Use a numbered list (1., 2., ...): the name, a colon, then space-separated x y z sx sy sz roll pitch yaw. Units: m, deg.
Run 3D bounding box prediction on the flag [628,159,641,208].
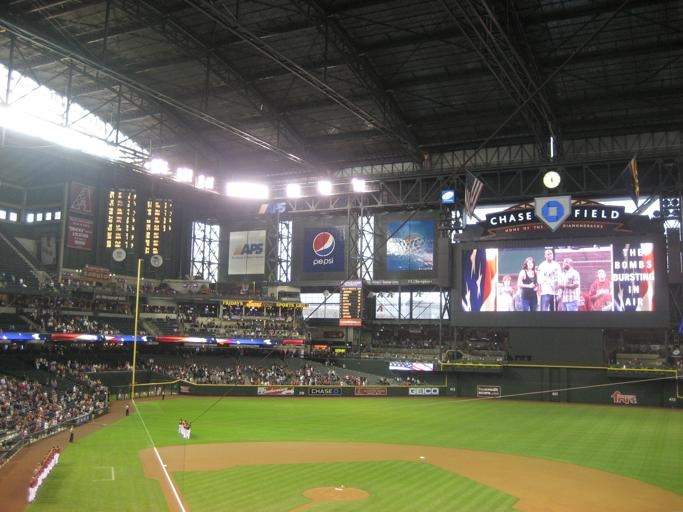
1. flag: 26.263 -6.661 70.751 0.202 4.130 4.115 -3 8 16
